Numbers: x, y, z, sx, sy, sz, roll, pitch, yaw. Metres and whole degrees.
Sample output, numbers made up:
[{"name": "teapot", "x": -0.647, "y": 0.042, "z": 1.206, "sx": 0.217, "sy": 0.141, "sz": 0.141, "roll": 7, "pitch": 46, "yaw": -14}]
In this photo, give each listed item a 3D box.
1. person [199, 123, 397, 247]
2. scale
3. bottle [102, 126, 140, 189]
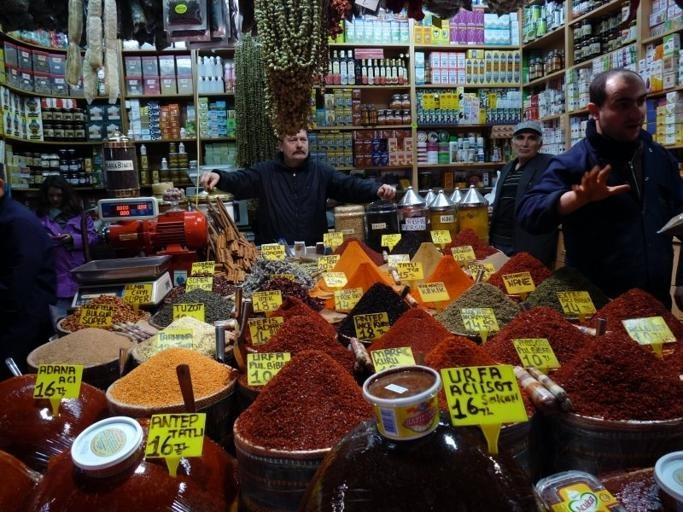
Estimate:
[{"name": "person", "x": -0.433, "y": -0.584, "z": 3.880, "sx": 1.230, "sy": 1.324, "sz": 0.457, "roll": -2, "pitch": 4, "yaw": -8}, {"name": "scale", "x": -0.968, "y": 0.106, "z": 2.129, "sx": 0.375, "sy": 0.165, "sz": 0.376, "roll": -7, "pitch": 17, "yaw": -5}, {"name": "bottle", "x": -1.168, "y": -0.483, "z": 2.548, "sx": 0.165, "sy": 0.329, "sz": 0.142, "roll": -13, "pitch": 18, "yaw": -25}]
